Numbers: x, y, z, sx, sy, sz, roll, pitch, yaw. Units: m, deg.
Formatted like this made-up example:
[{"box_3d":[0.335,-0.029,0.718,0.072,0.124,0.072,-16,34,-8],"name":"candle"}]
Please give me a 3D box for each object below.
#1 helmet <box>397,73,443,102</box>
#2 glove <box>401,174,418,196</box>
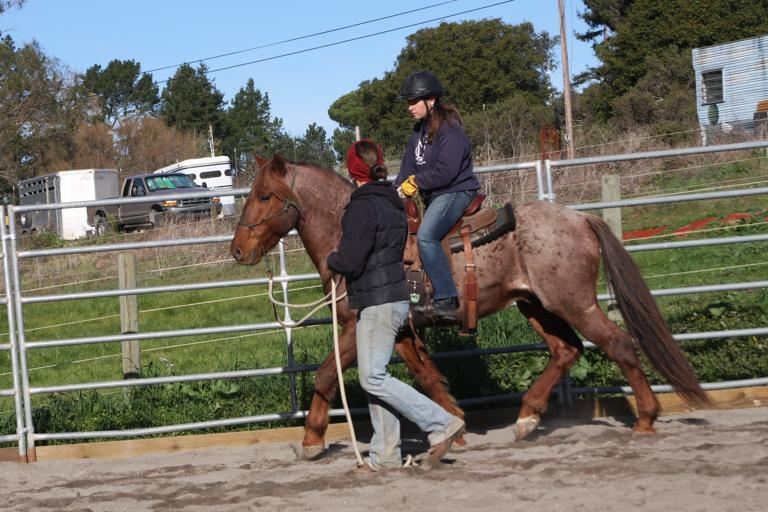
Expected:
[{"box_3d":[0.567,-2.507,14.682,0.526,0.297,0.391,-3,9,-19],"name":"helmet"},{"box_3d":[0.385,-1.038,14.494,0.228,0.280,0.109,35,7,24],"name":"glove"}]
